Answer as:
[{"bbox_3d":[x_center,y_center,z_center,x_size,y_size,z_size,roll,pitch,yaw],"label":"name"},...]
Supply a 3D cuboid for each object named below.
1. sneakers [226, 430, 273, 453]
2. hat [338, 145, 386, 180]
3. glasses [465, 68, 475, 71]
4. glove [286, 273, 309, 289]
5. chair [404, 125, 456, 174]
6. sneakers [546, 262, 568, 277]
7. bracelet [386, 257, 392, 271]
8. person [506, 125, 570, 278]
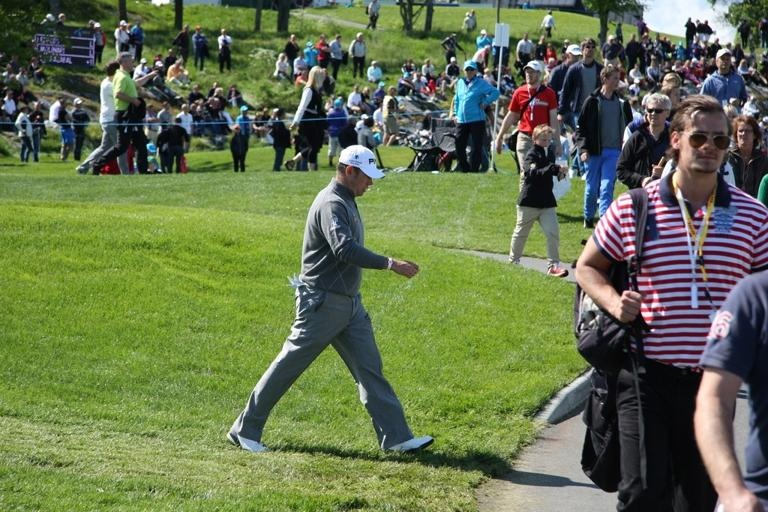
[{"bbox_3d":[-1.659,2.267,15.188,0.363,0.132,0.254,8,-1,-27],"label":"sneakers"},{"bbox_3d":[-0.253,-1.176,15.382,0.644,0.363,0.447,14,3,23],"label":"hat"},{"bbox_3d":[1.827,-3.963,26.265,0.193,0.066,0.237,5,8,2],"label":"glasses"},{"bbox_3d":[-1.070,0.349,15.233,0.230,0.092,0.220,-17,13,10],"label":"glove"},{"bbox_3d":[1.205,-2.562,30.352,1.146,1.453,1.123,0,-3,44],"label":"chair"},{"bbox_3d":[2.818,0.241,20.350,0.157,0.184,0.424,3,-2,-37],"label":"sneakers"},{"bbox_3d":[0.074,0.089,14.869,0.044,0.108,0.082,3,-6,-6],"label":"bracelet"},{"bbox_3d":[2.582,-0.947,20.445,0.936,2.393,0.820,6,8,12],"label":"person"}]
